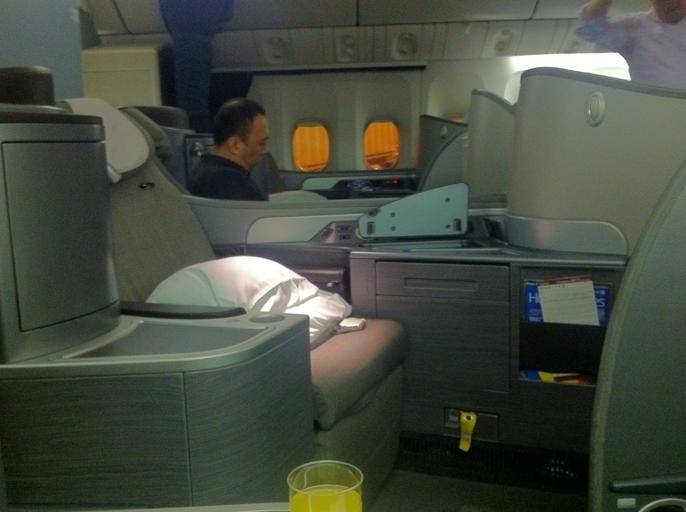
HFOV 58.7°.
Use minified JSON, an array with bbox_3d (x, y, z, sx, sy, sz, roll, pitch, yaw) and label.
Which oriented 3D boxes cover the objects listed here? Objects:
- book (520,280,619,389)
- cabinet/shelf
[{"bbox_3d":[0.575,0.184,1.675,0.259,0.254,0.262,1,18,11],"label":"book"},{"bbox_3d":[0.405,0.239,1.855,0.795,0.523,0.406,1,8,3],"label":"cabinet/shelf"}]
